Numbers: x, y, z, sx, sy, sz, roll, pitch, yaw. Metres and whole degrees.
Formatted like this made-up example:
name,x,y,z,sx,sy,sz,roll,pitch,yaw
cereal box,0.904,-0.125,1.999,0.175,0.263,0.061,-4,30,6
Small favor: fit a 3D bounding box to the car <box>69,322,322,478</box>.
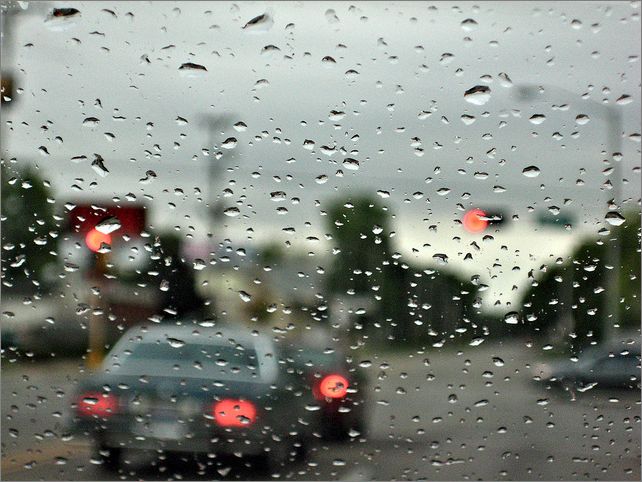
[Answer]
name,x,y,z,sx,sy,sz,roll,pitch,yaw
car,-0.653,0.790,8.136,1.194,0.676,1.980,4,10,13
